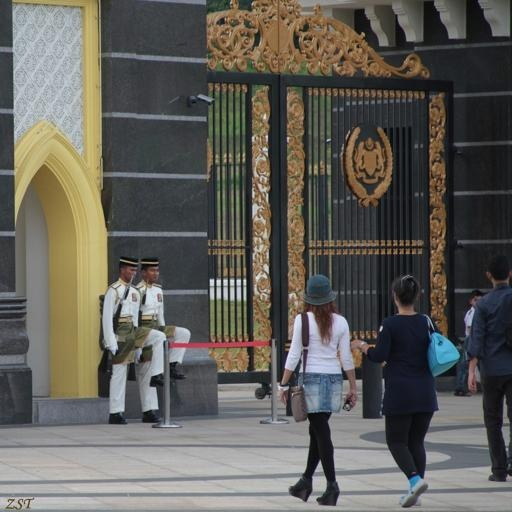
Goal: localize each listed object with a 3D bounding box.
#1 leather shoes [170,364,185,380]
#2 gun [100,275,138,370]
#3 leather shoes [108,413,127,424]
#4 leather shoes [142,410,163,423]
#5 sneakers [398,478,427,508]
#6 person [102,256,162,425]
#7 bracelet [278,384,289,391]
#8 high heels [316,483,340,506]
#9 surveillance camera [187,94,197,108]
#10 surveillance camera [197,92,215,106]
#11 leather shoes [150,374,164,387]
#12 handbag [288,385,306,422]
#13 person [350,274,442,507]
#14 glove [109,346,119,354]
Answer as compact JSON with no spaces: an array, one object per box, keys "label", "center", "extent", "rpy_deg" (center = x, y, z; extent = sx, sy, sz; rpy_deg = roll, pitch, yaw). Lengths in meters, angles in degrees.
[{"label":"leather shoes","center":[-0.849,1.255,18.669],"extent":[0.153,0.177,0.482],"rpy_deg":[-3,-3,-2]},{"label":"gun","center":[-1.398,0.692,18.381],"extent":[0.492,1.287,0.217],"rpy_deg":[-1,-3,-33]},{"label":"leather shoes","center":[-1.458,1.732,18.307],"extent":[0.211,0.107,0.084],"rpy_deg":[-1,-1,6]},{"label":"leather shoes","center":[-1.104,1.720,18.495],"extent":[0.201,0.232,0.103],"rpy_deg":[-1,2,-9]},{"label":"sneakers","center":[1.241,1.911,13.889],"extent":[0.113,0.158,0.357],"rpy_deg":[2,-38,-18]},{"label":"person","center":[-1.289,0.873,18.485],"extent":[0.606,1.922,0.570],"rpy_deg":[3,22,2]},{"label":"bracelet","center":[0.231,1.103,14.476],"extent":[0.084,0.066,0.127],"rpy_deg":[1,4,3]},{"label":"high heels","center":[0.549,1.940,14.082],"extent":[0.095,0.189,0.236],"rpy_deg":[2,-1,-28]},{"label":"surveillance camera","center":[-0.714,-1.710,19.183],"extent":[0.091,0.131,0.116],"rpy_deg":[1,11,4]},{"label":"surveillance camera","center":[-0.566,-1.746,19.338],"extent":[0.178,0.134,0.313],"rpy_deg":[-4,-3,-1]},{"label":"leather shoes","center":[-1.050,1.335,18.366],"extent":[0.151,0.101,0.082],"rpy_deg":[-2,-3,35]},{"label":"handbag","center":[0.344,1.210,14.143],"extent":[0.121,0.300,0.274],"rpy_deg":[-3,-3,0]},{"label":"person","center":[1.190,1.099,14.052],"extent":[0.489,1.858,0.463],"rpy_deg":[-4,-3,16]},{"label":"glove","center":[-1.489,0.993,18.186],"extent":[0.063,0.070,0.079],"rpy_deg":[1,7,2]}]
